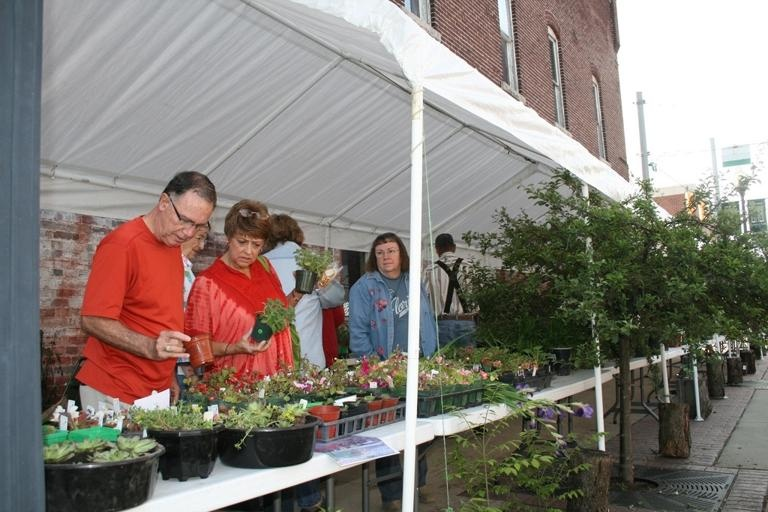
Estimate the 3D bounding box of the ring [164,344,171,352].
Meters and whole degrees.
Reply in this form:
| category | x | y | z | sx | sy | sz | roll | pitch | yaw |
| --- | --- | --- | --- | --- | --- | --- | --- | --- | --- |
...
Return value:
| category | x | y | z | sx | sy | sz | roll | pitch | yaw |
| --- | --- | --- | --- | --- | --- | --- | --- | --- | --- |
| ring | -1.060 | 0.450 | 2.997 | 0.026 | 0.019 | 0.026 | 1 | -4 | 0 |

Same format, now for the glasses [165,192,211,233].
| category | x | y | z | sx | sy | sz | roll | pitch | yaw |
| --- | --- | --- | --- | --- | --- | --- | --- | --- | --- |
| glasses | -1.056 | -0.248 | 3.269 | 0.047 | 0.158 | 0.154 | -39 | -16 | 14 |

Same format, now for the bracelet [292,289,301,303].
| category | x | y | z | sx | sy | sz | roll | pitch | yaw |
| --- | --- | --- | --- | --- | --- | --- | --- | --- | --- |
| bracelet | -0.609 | 0.276 | 4.263 | 0.086 | 0.086 | 0.089 | 7 | -2 | 8 |

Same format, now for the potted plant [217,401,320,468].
| category | x | y | z | sx | sy | sz | roll | pitch | yaw |
| --- | --- | --- | --- | --- | --- | --- | --- | --- | --- |
| potted plant | -0.573 | 0.938 | 3.064 | 0.524 | 0.196 | 0.465 | 4 | -13 | -41 |

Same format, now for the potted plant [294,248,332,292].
| category | x | y | z | sx | sy | sz | roll | pitch | yaw |
| --- | --- | --- | --- | --- | --- | --- | --- | --- | --- |
| potted plant | -0.498 | 0.118 | 4.213 | 0.235 | 0.268 | 0.199 | 15 | -10 | 2 |

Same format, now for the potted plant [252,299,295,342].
| category | x | y | z | sx | sy | sz | roll | pitch | yaw |
| --- | --- | --- | --- | --- | --- | --- | --- | --- | --- |
| potted plant | -0.662 | 0.380 | 3.621 | 0.252 | 0.255 | 0.178 | 1 | -4 | -8 |

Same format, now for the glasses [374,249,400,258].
| category | x | y | z | sx | sy | sz | roll | pitch | yaw |
| --- | --- | --- | --- | --- | --- | --- | --- | --- | --- |
| glasses | 0.040 | -0.048 | 4.983 | 0.205 | 0.123 | 0.114 | 0 | -4 | -1 |

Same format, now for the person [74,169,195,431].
| category | x | y | z | sx | sy | sz | roll | pitch | yaw |
| --- | --- | --- | --- | --- | --- | --- | --- | --- | --- |
| person | -1.270 | 0.180 | 3.281 | 0.651 | 1.285 | 0.729 | 2 | -4 | -26 |

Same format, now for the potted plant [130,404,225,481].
| category | x | y | z | sx | sy | sz | roll | pitch | yaw |
| --- | --- | --- | --- | --- | --- | --- | --- | --- | --- |
| potted plant | -0.950 | 0.825 | 2.819 | 0.346 | 0.273 | 0.331 | -1 | -5 | 10 |
